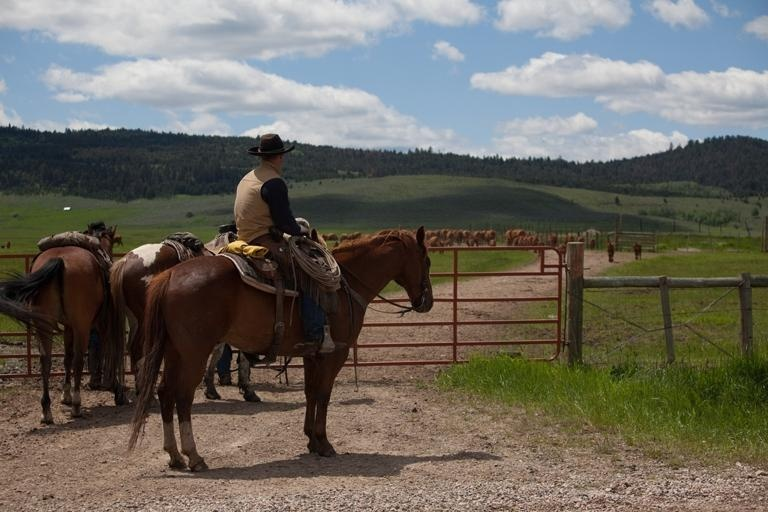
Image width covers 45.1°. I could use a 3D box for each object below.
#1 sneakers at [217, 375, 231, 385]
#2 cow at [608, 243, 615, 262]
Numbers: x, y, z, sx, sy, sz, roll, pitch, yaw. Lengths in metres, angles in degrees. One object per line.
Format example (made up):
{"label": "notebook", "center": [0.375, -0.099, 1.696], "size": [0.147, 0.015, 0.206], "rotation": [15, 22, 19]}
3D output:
{"label": "sneakers", "center": [-3.064, 2.386, 17.728], "size": [0.151, 0.196, 0.073], "rotation": [-4, 2, -4]}
{"label": "cow", "center": [10.465, -0.182, 42.748], "size": [0.239, 0.770, 1.137], "rotation": [1, 5, 11]}
